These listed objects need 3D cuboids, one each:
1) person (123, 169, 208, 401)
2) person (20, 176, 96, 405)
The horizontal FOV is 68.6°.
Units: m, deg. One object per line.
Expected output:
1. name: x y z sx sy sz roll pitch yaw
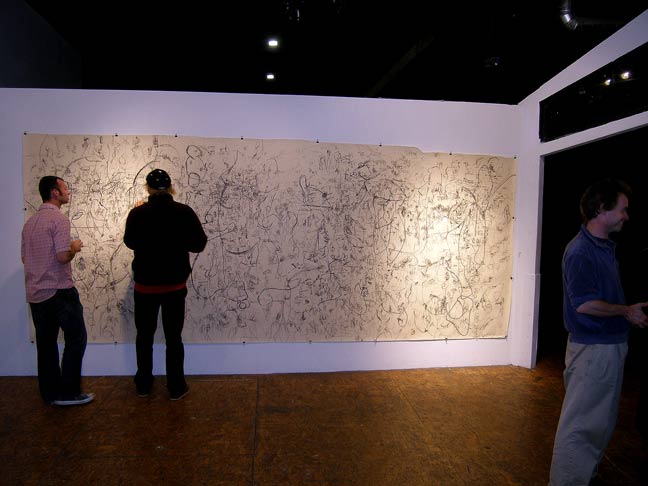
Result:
1. person: -1.499 0.402 4.457 0.723 2.153 0.266 1 2 -11
2. person: -2.450 0.447 4.347 0.611 2.101 0.292 1 2 6
